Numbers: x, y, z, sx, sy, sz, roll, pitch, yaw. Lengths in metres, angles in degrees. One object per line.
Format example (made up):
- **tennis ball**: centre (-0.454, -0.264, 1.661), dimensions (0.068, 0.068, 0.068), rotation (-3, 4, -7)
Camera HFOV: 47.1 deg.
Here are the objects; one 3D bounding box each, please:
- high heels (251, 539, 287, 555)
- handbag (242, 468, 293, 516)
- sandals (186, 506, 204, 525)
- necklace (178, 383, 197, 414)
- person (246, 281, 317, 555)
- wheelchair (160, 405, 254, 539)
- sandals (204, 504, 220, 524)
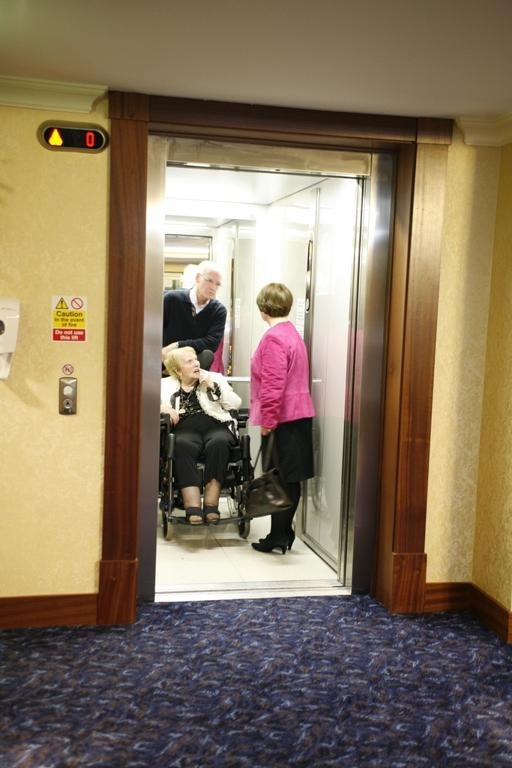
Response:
- **high heels**: centre (0.095, 1.069, 3.855), dimensions (0.179, 0.081, 0.105), rotation (10, 2, 2)
- **handbag**: centre (0.084, 0.683, 3.666), dimensions (0.106, 0.253, 0.251), rotation (2, -25, -43)
- **sandals**: centre (-0.387, 0.826, 3.678), dimensions (0.082, 0.073, 0.243), rotation (-1, -8, -7)
- **necklace**: centre (-0.477, 0.102, 4.045), dimensions (0.124, 0.171, 0.065), rotation (-1, -13, 8)
- **person**: centre (0.174, 0.233, 3.721), dimensions (0.439, 1.269, 0.488), rotation (2, -1, -1)
- **wheelchair**: centre (-0.344, 0.650, 4.155), dimensions (0.553, 0.874, 0.925), rotation (1, -7, -5)
- **sandals**: centre (-0.286, 0.835, 3.747), dimensions (0.081, 0.097, 0.234), rotation (0, -11, -7)
